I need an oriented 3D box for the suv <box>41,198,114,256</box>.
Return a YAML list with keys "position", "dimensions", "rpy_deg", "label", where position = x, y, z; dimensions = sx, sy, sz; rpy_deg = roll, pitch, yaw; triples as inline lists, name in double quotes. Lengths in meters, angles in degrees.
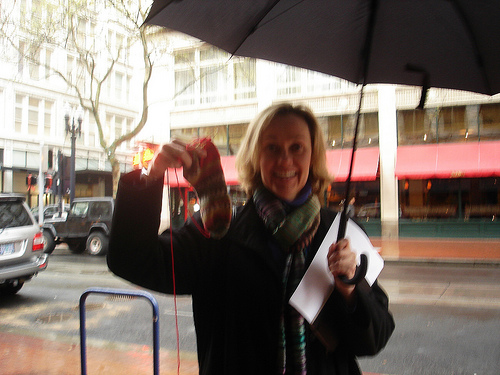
- position: [-6.021, 1.449, 13.938]
  dimensions: [2.692, 1.942, 1.683]
  rpy_deg: [2, -8, 8]
  label: "suv"
